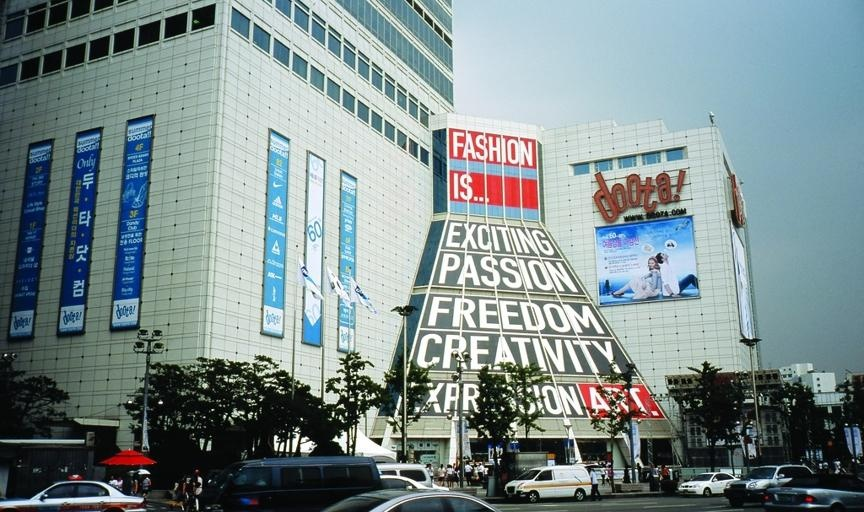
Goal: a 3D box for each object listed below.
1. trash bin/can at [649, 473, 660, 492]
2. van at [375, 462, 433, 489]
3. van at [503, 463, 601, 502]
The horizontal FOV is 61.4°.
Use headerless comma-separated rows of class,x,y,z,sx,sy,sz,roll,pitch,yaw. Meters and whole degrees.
trash bin/can,23.784,24.087,78.014,1.044,1.779,2.484,-9,-21,18
van,-2.095,17.374,57.128,4.097,1.748,2.247,11,-13,-9
van,11.346,22.058,71.296,7.686,2.689,3.549,4,-12,-17
